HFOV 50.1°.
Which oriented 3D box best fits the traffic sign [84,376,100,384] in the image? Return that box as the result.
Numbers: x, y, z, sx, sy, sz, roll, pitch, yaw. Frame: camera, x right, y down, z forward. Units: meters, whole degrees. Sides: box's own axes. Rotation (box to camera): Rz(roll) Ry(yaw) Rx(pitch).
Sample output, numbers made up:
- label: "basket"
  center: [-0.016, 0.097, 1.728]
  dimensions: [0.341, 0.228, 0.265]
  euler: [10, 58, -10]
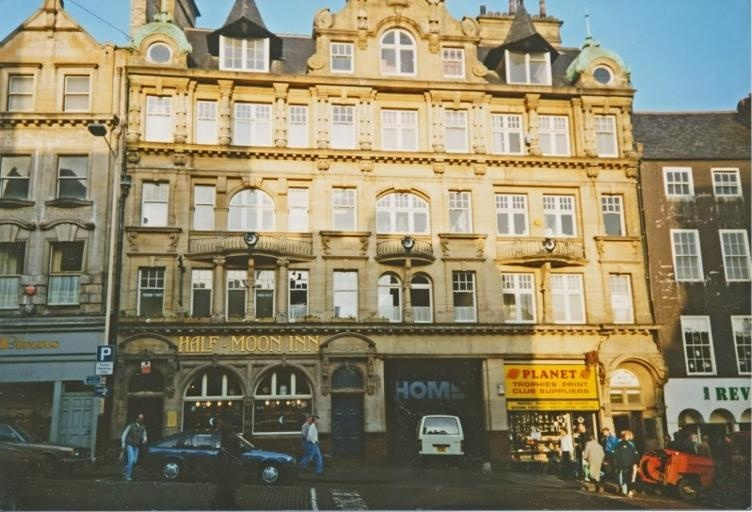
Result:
- label: "traffic sign"
  center: [-14.749, 6.452, 42.103]
  dimensions: [0.776, 0.460, 0.720]
  euler: [4, -11, -19]

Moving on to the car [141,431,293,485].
- label: "car"
  center: [-7.196, 8.999, 37.394]
  dimensions: [6.818, 1.945, 2.949]
  euler: [1, -13, -4]

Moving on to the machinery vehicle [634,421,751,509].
- label: "machinery vehicle"
  center: [15.981, 10.388, 39.673]
  dimensions: [5.588, 2.520, 3.930]
  euler: [5, -14, -10]
